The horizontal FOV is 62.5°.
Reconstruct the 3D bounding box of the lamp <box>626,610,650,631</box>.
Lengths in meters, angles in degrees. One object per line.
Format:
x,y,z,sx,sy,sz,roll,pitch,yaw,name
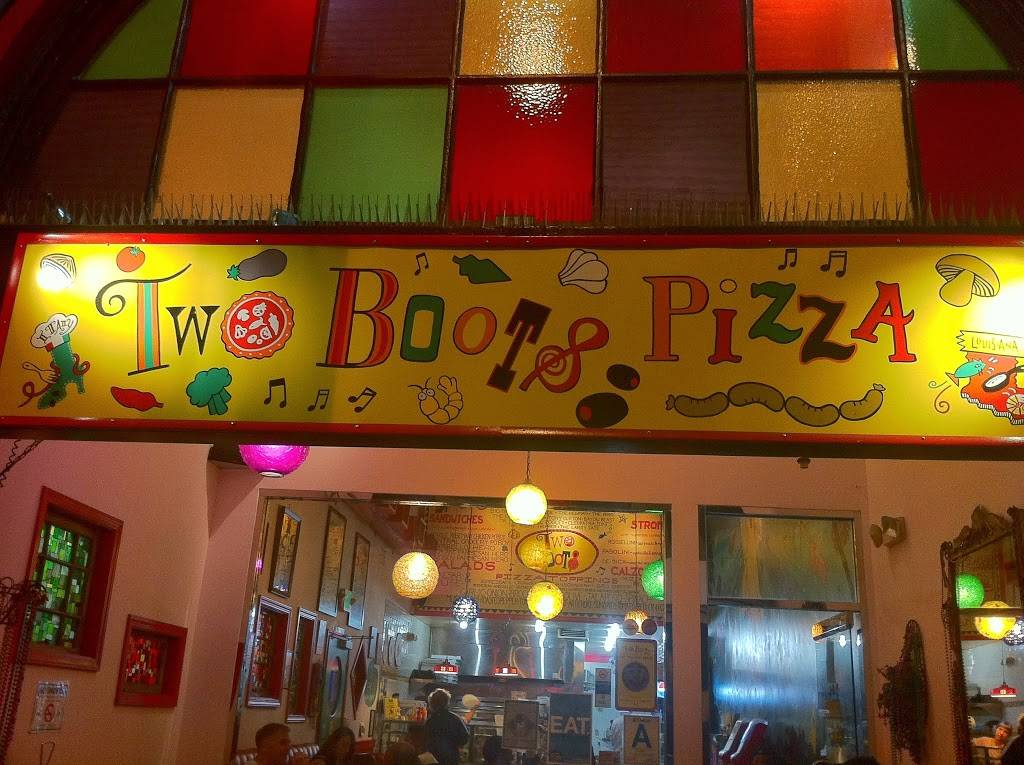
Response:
1.600,3.081,10.854,0.255,0.267,0.347,16,-27,-29,lamp

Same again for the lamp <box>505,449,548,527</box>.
0.142,0.915,7.667,0.396,0.756,0.645,2,-23,-1,lamp

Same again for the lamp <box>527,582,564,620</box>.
0.396,2.603,10.255,0.375,0.443,0.448,2,-24,-1,lamp
